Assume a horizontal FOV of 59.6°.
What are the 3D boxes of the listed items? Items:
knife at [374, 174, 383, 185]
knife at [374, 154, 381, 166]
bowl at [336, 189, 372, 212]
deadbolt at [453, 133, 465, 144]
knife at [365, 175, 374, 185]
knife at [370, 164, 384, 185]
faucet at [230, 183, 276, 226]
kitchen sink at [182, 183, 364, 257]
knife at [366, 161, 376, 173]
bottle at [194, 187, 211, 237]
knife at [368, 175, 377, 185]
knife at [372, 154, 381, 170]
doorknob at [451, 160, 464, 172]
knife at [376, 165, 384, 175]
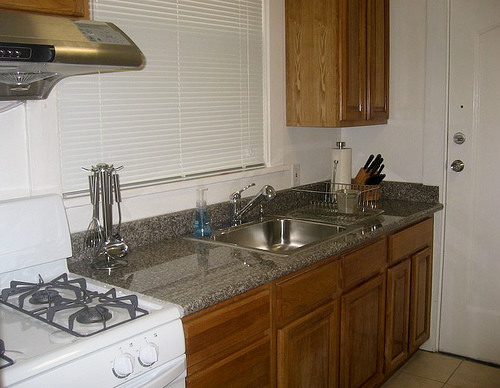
[{"bbox_3d":[0.848,-0.086,2.848,0.060,0.060,0.026,-4,10,14],"label":"knife"},{"bbox_3d":[0.849,-0.228,2.891,0.025,0.017,0.079,2,-34,-15],"label":"knife"},{"bbox_3d":[0.616,0.041,2.617,0.223,0.124,0.155,-10,13,-36],"label":"bowl"},{"bbox_3d":[1.373,-0.356,2.830,0.064,0.068,0.021,-3,11,23],"label":"deadbolt"},{"bbox_3d":[0.790,-0.084,2.847,0.057,0.051,0.012,-1,12,31],"label":"knife"},{"bbox_3d":[0.848,-0.127,2.889,0.185,0.037,0.024,-47,39,-12],"label":"knife"},{"bbox_3d":[0.000,0.055,2.407,0.341,0.204,0.081,-13,21,-41],"label":"faucet"},{"bbox_3d":[0.123,0.052,2.274,0.504,0.298,0.637,5,11,38],"label":"kitchen sink"},{"bbox_3d":[0.806,-0.171,2.865,0.080,0.073,0.027,-13,11,-38],"label":"knife"},{"bbox_3d":[-0.232,0.089,2.180,0.086,0.234,0.150,-5,9,13],"label":"bottle"},{"bbox_3d":[0.808,-0.084,2.838,0.061,0.053,0.022,-5,9,6],"label":"knife"},{"bbox_3d":[0.852,-0.223,2.891,0.020,0.082,0.025,42,15,27],"label":"knife"},{"bbox_3d":[1.366,-0.180,2.843,0.075,0.070,0.029,-3,10,22],"label":"doorknob"},{"bbox_3d":[0.881,-0.153,2.921,0.091,0.022,0.016,-48,3,-15],"label":"knife"}]
